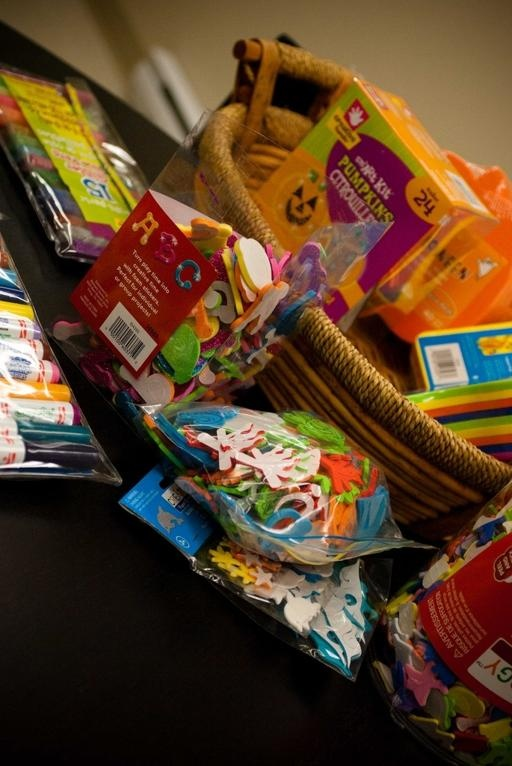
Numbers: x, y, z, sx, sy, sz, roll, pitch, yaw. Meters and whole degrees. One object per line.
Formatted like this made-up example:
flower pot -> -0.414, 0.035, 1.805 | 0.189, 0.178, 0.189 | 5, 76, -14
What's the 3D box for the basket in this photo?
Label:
basket -> 0.158, -0.035, 0.669 | 0.373, 0.179, 0.474 | 52, 12, 32
